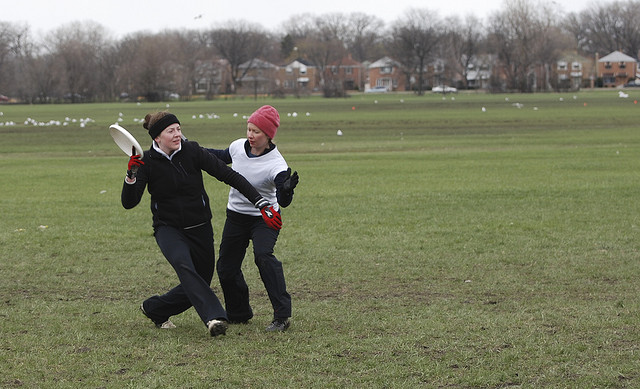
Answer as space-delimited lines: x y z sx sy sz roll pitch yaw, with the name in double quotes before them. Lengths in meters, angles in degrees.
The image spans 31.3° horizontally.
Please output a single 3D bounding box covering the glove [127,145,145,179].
"glove" -7.703 -1.271 47.760 0.642 0.664 1.023 23 28 -27
